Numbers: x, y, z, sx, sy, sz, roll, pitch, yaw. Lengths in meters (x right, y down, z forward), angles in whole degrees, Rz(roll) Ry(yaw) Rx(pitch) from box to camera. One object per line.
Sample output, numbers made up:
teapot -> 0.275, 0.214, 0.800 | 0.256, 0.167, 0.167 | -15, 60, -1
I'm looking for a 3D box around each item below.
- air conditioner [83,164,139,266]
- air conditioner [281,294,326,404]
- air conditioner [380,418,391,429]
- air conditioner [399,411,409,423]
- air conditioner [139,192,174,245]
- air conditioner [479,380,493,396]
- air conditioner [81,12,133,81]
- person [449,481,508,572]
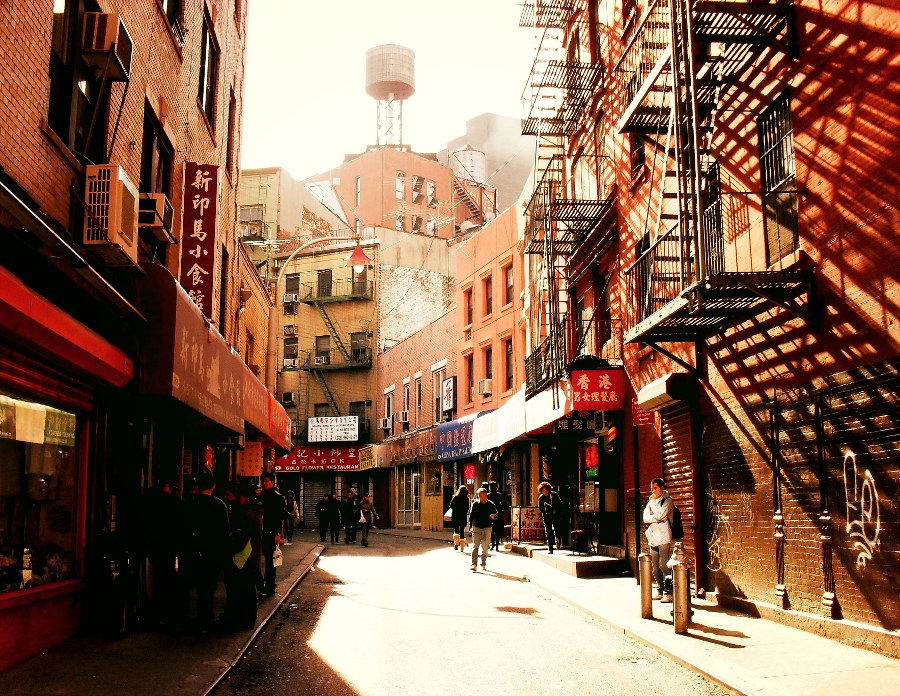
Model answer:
air conditioner -> -4.359, -1.712, 12.489 | 0.364, 1.077, 1.058 | 0, -6, -2
air conditioner -> -8.232, 0.340, 53.302 | 3.082, 5.817, 0.921 | -3, -3, 39
air conditioner -> -3.182, 3.762, 47.731 | 0.420, 0.618, 0.479 | 0, -5, -7
air conditioner -> -2.097, 3.228, 44.901 | 0.348, 0.610, 0.559 | 1, -7, -10
air conditioner -> -4.567, -1.997, 14.853 | 0.409, 0.659, 0.915 | 0, -9, -4
air conditioner -> 1.349, 1.459, 35.490 | 0.402, 0.704, 0.677 | 3, -9, -7
air conditioner -> -4.538, -3.958, 12.600 | 0.410, 0.730, 0.916 | 0, -16, -3
person -> 0.721, 4.048, 21.835 | 0.799, 2.503, 1.260 | 0, -4, -7
